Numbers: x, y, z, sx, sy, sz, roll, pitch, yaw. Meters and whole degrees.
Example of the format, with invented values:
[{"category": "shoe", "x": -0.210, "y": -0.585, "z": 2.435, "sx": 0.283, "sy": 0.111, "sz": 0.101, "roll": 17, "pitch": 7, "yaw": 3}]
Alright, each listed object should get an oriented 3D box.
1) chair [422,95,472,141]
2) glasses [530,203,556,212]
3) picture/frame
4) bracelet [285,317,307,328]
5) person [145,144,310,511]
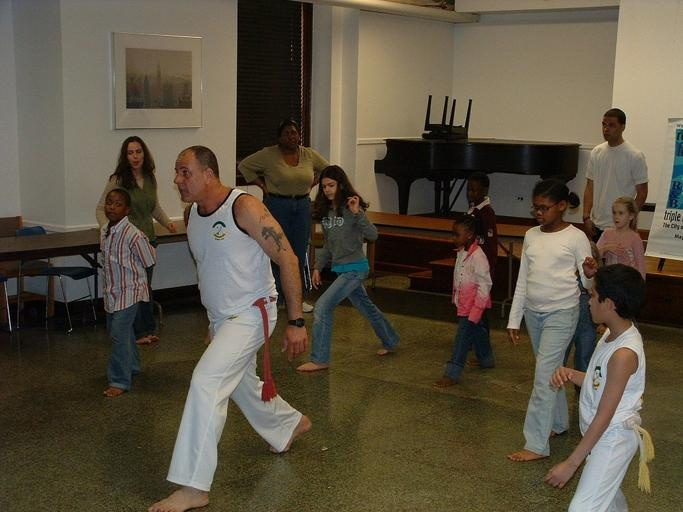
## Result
[{"category": "chair", "x": 2.059, "y": -2.502, "z": 9.508, "sx": 0.709, "sy": 0.787, "sz": 0.595, "roll": 14, "pitch": 12, "yaw": 22}, {"category": "glasses", "x": 1.221, "y": -0.301, "z": 3.221, "sx": 0.108, "sy": 0.057, "sz": 0.230, "roll": 0, "pitch": 9, "yaw": -3}, {"category": "picture/frame", "x": -2.264, "y": -2.131, "z": 6.235, "sx": 1.197, "sy": 1.138, "sz": 0.136, "roll": -6, "pitch": 7, "yaw": -39}, {"category": "bracelet", "x": -0.229, "y": 0.328, "z": 2.599, "sx": 0.067, "sy": 0.047, "sz": 0.072, "roll": -1, "pitch": 3, "yaw": 20}, {"category": "person", "x": -0.575, "y": 0.351, "z": 2.643, "sx": 0.866, "sy": 1.792, "sz": 0.617, "roll": -5, "pitch": 9, "yaw": -35}]
